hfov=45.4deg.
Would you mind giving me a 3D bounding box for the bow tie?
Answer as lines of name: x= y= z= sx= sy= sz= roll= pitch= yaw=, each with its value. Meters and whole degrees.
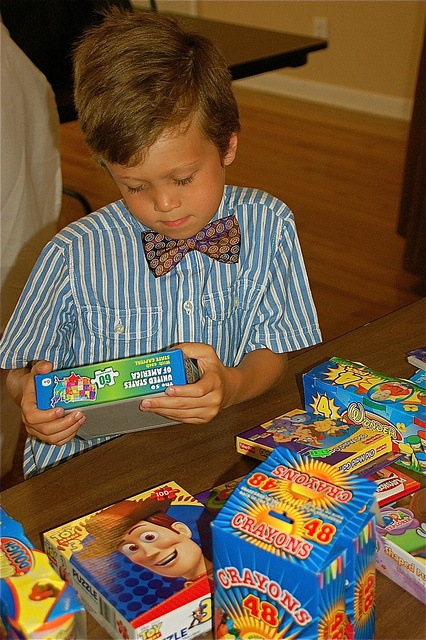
bow tie: x=-0.043 y=-0.150 z=1.030 sx=0.200 sy=0.103 sz=0.025 roll=-15 pitch=39 yaw=-12
